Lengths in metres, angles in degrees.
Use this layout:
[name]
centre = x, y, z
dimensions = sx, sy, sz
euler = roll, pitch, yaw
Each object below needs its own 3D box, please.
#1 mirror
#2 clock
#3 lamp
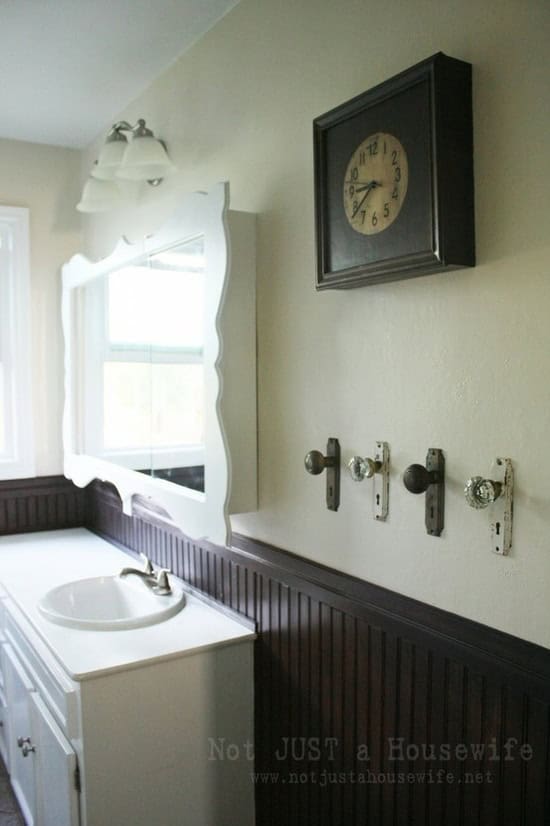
[mirror]
centre = -0.441, -0.112, 2.296
dimensions = 0.134, 0.879, 1.496
euler = -1, 4, -31
[clock]
centre = 0.180, -0.376, 1.212
dimensions = 0.063, 0.328, 0.269
euler = 2, -3, -40
[lamp]
centre = -0.454, -0.757, 2.134
dimensions = 0.262, 0.177, 0.137
euler = -4, 0, 35
